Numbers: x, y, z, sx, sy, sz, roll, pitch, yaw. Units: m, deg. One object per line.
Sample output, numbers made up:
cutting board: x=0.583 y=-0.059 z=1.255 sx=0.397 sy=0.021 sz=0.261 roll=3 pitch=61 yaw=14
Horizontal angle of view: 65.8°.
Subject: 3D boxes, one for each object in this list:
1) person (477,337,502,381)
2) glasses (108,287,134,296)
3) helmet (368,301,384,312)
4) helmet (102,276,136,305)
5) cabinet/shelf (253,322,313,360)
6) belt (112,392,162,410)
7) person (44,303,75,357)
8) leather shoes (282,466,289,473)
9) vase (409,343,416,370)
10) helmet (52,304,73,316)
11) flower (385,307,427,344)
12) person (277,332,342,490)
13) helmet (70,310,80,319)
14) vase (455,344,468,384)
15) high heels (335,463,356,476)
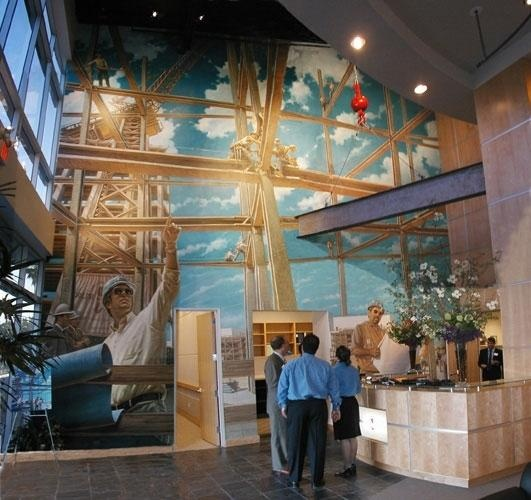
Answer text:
person: x=3.943 y=2.103 z=7.230 sx=0.364 sy=1.032 sz=0.320 roll=2 pitch=4 yaw=27
glasses: x=-2.604 y=0.749 z=7.447 sx=0.292 sy=0.163 sz=0.078 roll=1 pitch=-1 yaw=-17
helmet: x=2.500 y=1.273 z=9.330 sx=0.217 sy=0.267 sz=0.274 roll=7 pitch=-24 yaw=-6
helmet: x=-2.691 y=0.649 z=7.435 sx=0.404 sy=0.505 sz=0.261 roll=23 pitch=5 yaw=-39
cabinet/shelf: x=0.321 y=1.974 z=9.035 sx=1.364 sy=0.669 sz=0.187 roll=0 pitch=-9 yaw=-12
belt: x=-2.180 y=2.642 z=7.150 sx=0.530 sy=0.163 sz=0.378 roll=-9 pitch=-11 yaw=0
person: x=-3.520 y=1.347 z=6.962 sx=0.528 sy=0.843 sz=0.407 roll=0 pitch=-8 yaw=-3
leather shoes: x=0.248 y=2.750 z=5.116 sx=0.091 sy=0.034 sz=0.125 roll=0 pitch=6 yaw=-9
vase: x=1.977 y=1.433 z=5.508 sx=0.077 sy=0.308 sz=0.104 roll=-3 pitch=-9 yaw=22
helmet: x=-3.499 y=1.041 z=7.092 sx=0.322 sy=0.144 sz=0.321 roll=4 pitch=-14 yaw=-36
flower: x=1.921 y=1.091 z=5.658 sx=0.452 sy=0.494 sz=0.472 roll=4 pitch=-14 yaw=-4
person: x=0.484 y=1.800 z=4.608 sx=0.705 sy=1.631 sz=0.370 roll=-2 pitch=-8 yaw=10
helmet: x=-3.300 y=1.132 z=7.137 sx=0.108 sy=0.127 sz=0.135 roll=-3 pitch=0 yaw=-5
vase: x=2.248 y=1.281 z=4.726 sx=0.101 sy=0.421 sz=0.229 roll=-4 pitch=-9 yaw=25
high heels: x=0.906 y=2.575 z=4.813 sx=0.268 sy=0.117 sz=0.099 roll=-8 pitch=-16 yaw=37
